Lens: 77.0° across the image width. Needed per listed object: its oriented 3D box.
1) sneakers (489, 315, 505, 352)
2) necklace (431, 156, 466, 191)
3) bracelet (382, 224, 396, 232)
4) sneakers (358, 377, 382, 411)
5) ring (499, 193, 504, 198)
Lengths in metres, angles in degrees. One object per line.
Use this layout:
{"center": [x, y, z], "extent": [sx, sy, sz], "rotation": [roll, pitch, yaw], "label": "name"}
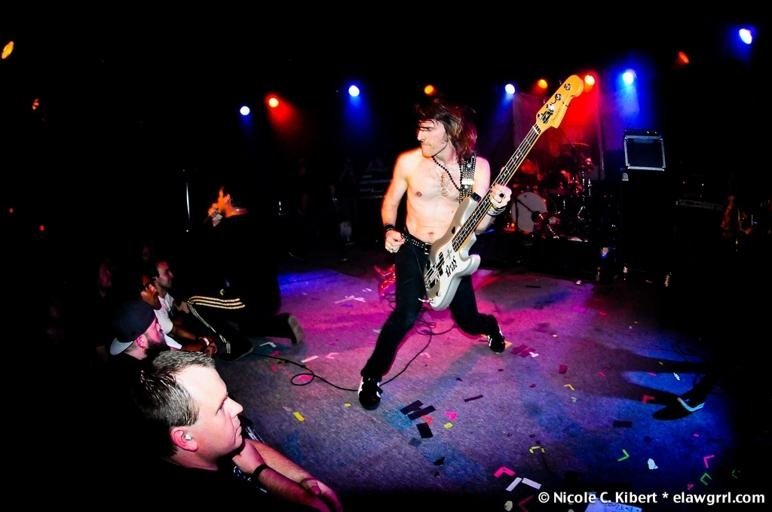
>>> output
{"center": [1.279, 0.896, 5.628], "extent": [0.167, 0.457, 0.193], "rotation": [0, 25, 27], "label": "sneakers"}
{"center": [0.637, -0.846, 4.955], "extent": [0.095, 0.424, 0.235], "rotation": [-38, 7, -6], "label": "necklace"}
{"center": [0.036, -0.283, 5.130], "extent": [0.092, 0.083, 0.092], "rotation": [2, -6, -25], "label": "bracelet"}
{"center": [-0.160, 1.373, 4.923], "extent": [0.257, 0.277, 0.259], "rotation": [5, 22, -2], "label": "sneakers"}
{"center": [1.043, -0.554, 4.420], "extent": [0.047, 0.042, 0.016], "rotation": [6, 22, 2], "label": "ring"}
